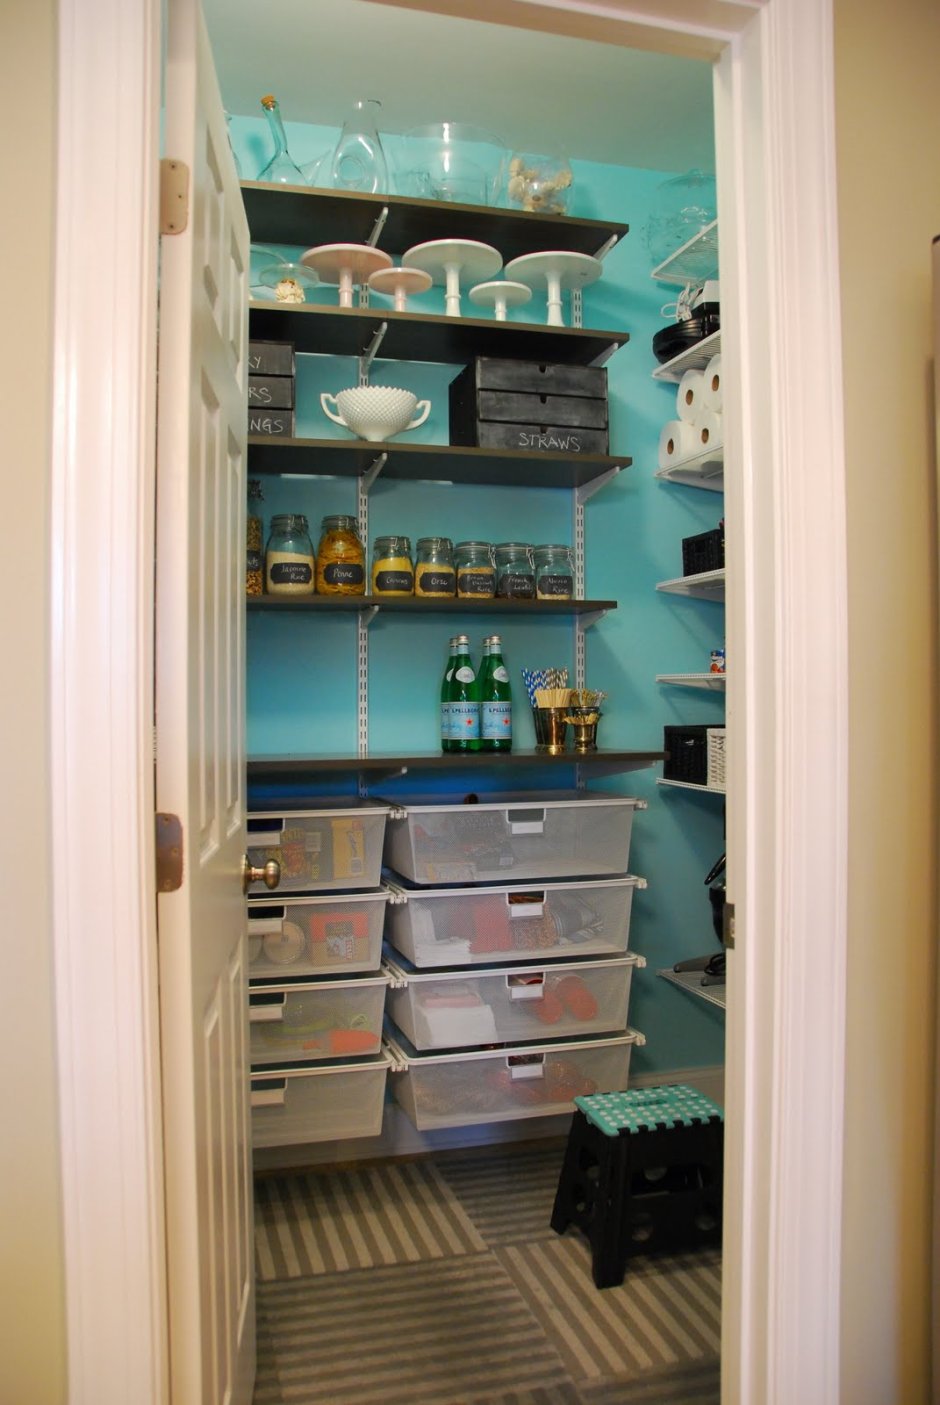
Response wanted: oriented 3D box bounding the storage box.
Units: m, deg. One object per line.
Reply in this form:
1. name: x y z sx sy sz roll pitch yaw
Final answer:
1. storage box: -0.092 0.602 2.592 0.946 0.703 0.368 -1 -5 -13

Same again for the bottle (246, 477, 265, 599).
1. bottle: -0.467 -0.364 2.423 0.033 0.244 0.094 0 1 -9

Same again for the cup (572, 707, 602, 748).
1. cup: 0.275 0.060 2.689 0.081 0.102 0.084 -1 2 0

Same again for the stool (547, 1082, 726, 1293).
1. stool: 0.340 0.936 2.203 0.322 0.297 0.253 0 1 -11

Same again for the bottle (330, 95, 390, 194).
1. bottle: -0.251 -1.273 2.543 0.105 0.214 0.061 1 1 27

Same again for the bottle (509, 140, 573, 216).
1. bottle: 0.168 -1.227 2.632 0.148 0.126 0.172 3 10 14

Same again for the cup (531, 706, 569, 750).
1. cup: 0.191 0.062 2.701 0.088 0.100 0.088 1 5 0
